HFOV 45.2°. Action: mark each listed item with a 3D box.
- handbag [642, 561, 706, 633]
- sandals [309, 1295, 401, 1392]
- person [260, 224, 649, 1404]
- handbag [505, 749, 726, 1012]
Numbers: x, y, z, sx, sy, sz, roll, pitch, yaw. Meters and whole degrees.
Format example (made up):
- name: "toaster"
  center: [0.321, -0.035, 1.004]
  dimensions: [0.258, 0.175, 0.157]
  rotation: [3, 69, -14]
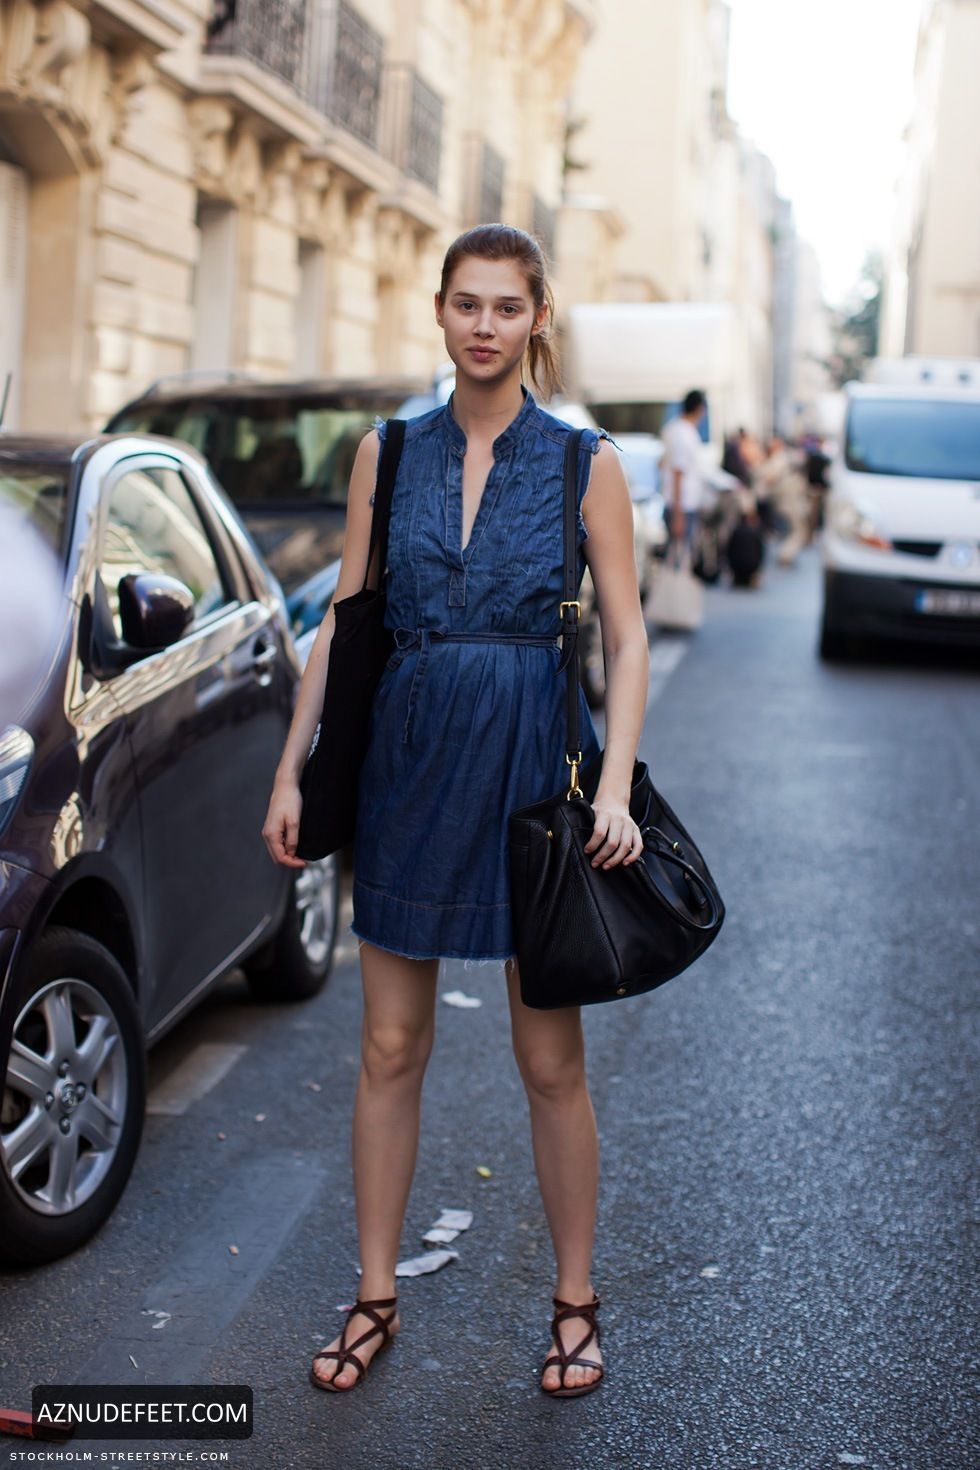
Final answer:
- name: "handbag"
  center: [2.191, -1.637, 14.009]
  dimensions: [0.904, 0.976, 0.576]
  rotation: [2, 3, 23]
- name: "sandals"
  center: [-0.185, 0.842, 1.651]
  dimensions: [0.051, 0.070, 0.157]
  rotation: [4, 6, 21]
- name: "person"
  center: [-0.047, 0.117, 1.637]
  dimensions: [0.538, 1.559, 0.387]
  rotation: [-1, -2, 13]
- name: "handbag"
  center: [0.172, 0.192, 1.524]
  dimensions: [0.185, 0.327, 0.336]
  rotation: [-21, -8, 37]
